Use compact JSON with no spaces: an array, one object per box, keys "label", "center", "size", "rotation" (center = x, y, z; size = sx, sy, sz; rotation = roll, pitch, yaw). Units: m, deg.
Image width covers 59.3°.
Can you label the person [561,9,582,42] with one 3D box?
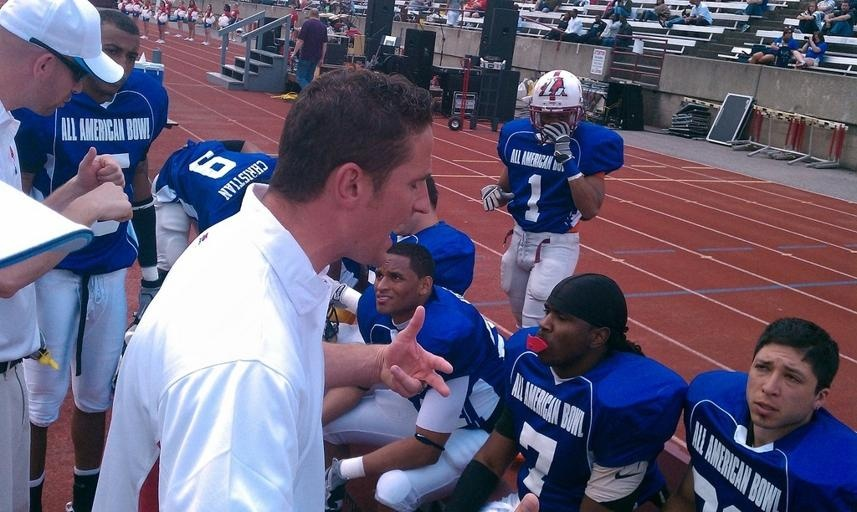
[{"label":"person","center":[5.271,-8.574,27.943],"size":[0.855,1.100,0.901],"rotation":[11,20,23]}]

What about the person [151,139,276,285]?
[{"label":"person","center":[-1.528,-0.319,5.204],"size":[1.066,0.552,0.705],"rotation":[-31,-33,32]}]

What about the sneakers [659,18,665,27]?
[{"label":"sneakers","center":[8.877,-8.778,28.356],"size":[0.166,0.398,0.289],"rotation":[-4,12,-13]}]

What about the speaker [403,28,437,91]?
[{"label":"speaker","center":[-0.355,-5.309,20.560],"size":[0.921,1.624,1.033],"rotation":[1,11,3]}]

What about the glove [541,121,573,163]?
[{"label":"glove","center":[1.170,-1.029,6.801],"size":[0.266,0.367,0.147],"rotation":[4,14,44]}]

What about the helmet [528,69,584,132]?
[{"label":"helmet","center":[1.231,-1.461,7.059],"size":[0.489,0.535,0.656],"rotation":[6,31,24]}]

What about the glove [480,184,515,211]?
[{"label":"glove","center":[0.710,-0.619,7.484],"size":[0.219,0.188,0.292],"rotation":[-29,-3,41]}]

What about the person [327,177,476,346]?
[{"label":"person","center":[-0.404,0.057,6.569],"size":[1.394,1.865,0.928],"rotation":[2,41,-15]}]

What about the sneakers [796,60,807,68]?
[{"label":"sneakers","center":[10.599,-5.427,21.391],"size":[0.297,0.199,0.240],"rotation":[12,15,13]}]

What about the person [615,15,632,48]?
[{"label":"person","center":[6.651,-7.523,25.378],"size":[0.554,1.074,1.538],"rotation":[11,15,10]}]

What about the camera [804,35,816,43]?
[{"label":"camera","center":[11.490,-6.504,22.611],"size":[0.235,0.115,0.322],"rotation":[-1,14,11]}]

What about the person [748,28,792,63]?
[{"label":"person","center":[9.939,-5.987,21.861],"size":[1.662,0.945,0.717],"rotation":[-9,17,-3]}]
